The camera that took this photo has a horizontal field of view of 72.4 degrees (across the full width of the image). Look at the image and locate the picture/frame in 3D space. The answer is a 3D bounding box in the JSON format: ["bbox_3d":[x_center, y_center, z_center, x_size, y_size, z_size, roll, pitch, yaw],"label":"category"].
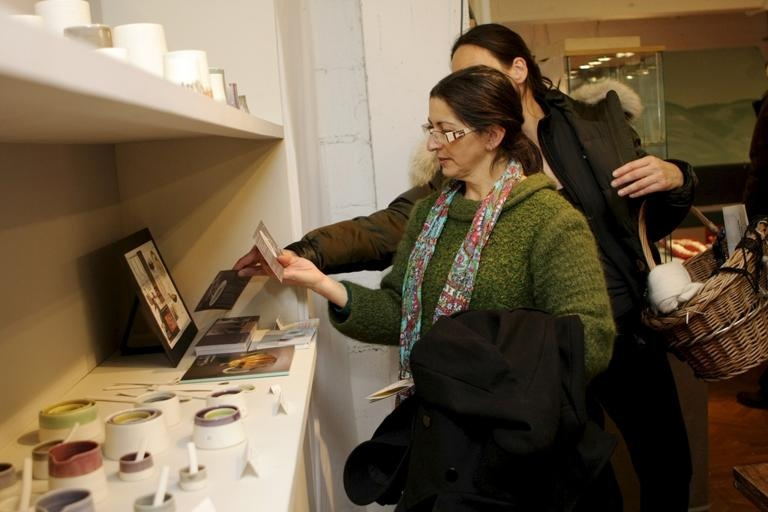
[{"bbox_3d":[-0.755,0.133,1.717,0.238,0.409,0.420,-1,9,-15],"label":"picture/frame"}]

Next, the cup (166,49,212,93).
[{"bbox_3d":[-0.474,-0.456,1.297,0.122,0.112,0.098,-6,12,-37],"label":"cup"}]
